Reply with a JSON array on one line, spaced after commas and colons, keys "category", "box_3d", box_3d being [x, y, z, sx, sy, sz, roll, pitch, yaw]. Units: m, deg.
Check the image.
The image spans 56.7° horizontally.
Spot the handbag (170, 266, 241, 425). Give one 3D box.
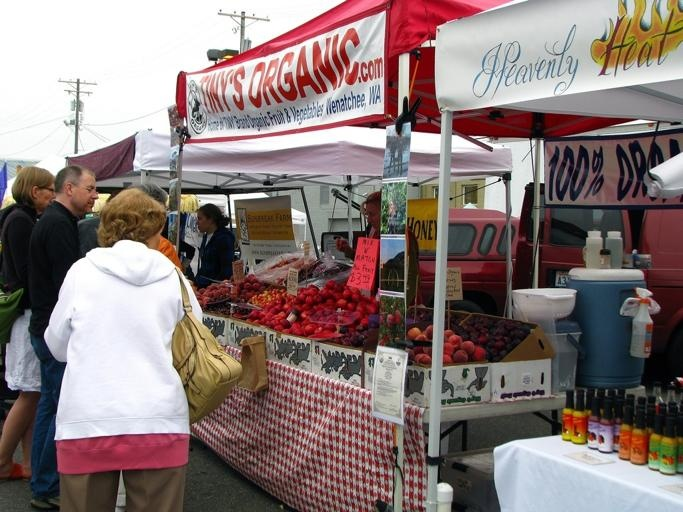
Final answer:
[{"category": "handbag", "box_3d": [-0.795, 0.447, 3.436, 0.293, 0.678, 0.432, -23, 8, -42]}]

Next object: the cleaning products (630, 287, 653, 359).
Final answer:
[{"category": "cleaning products", "box_3d": [1.950, 0.439, 4.132, 0.119, 0.474, 0.219, 2, 4, 26]}]

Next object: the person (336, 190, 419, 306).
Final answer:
[{"category": "person", "box_3d": [0.325, -0.133, 4.969, 0.536, 1.094, 0.540, -4, 9, -31]}]

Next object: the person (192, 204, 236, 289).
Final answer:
[{"category": "person", "box_3d": [-1.562, -0.129, 7.709, 0.500, 1.244, 0.490, -1, 8, -43]}]

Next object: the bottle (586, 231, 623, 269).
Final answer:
[{"category": "bottle", "box_3d": [1.852, -0.050, 4.500, 0.237, 0.252, 0.313, 2, 5, 21]}]

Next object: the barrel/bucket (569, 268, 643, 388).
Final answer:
[{"category": "barrel/bucket", "box_3d": [1.765, 0.448, 4.288, 0.423, 0.824, 0.428, 0, 1, 0]}]
